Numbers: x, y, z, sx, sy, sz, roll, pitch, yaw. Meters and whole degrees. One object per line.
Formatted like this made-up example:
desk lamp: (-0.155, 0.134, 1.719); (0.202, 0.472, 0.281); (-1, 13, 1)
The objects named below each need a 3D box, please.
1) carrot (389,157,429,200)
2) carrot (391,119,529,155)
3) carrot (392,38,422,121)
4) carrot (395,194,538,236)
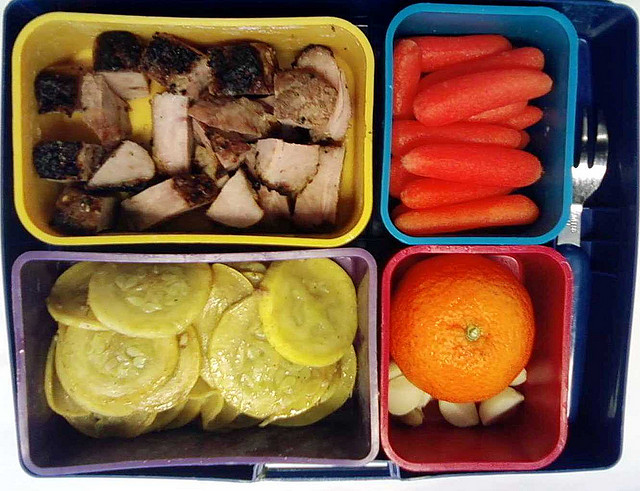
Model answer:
carrot: (0.283, -0.221, 2.202); (0.141, 0.065, 0.122); (-4, 100, 2)
carrot: (0.414, -0.363, 2.297); (0.547, 0.140, 0.128); (2, 93, -1)
carrot: (0.271, -0.534, 2.242); (0.122, 0.079, 0.228); (1, 105, -8)
carrot: (0.467, -0.113, 2.294); (0.123, 0.548, 0.122); (51, 55, -27)
